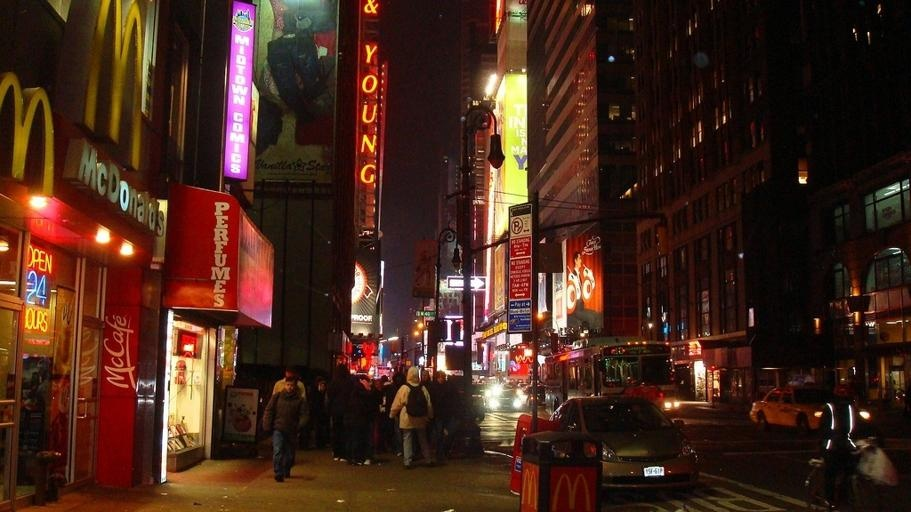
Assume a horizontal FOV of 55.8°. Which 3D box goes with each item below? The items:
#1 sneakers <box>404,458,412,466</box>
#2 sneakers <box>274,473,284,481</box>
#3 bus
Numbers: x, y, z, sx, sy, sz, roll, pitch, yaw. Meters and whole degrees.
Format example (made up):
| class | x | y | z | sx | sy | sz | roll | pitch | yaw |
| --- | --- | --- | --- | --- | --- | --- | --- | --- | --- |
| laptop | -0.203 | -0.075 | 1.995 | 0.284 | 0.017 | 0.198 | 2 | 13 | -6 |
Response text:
| class | x | y | z | sx | sy | sz | roll | pitch | yaw |
| --- | --- | --- | --- | --- | --- | --- | --- | --- | --- |
| sneakers | -1.652 | 7.254 | 30.242 | 0.200 | 0.269 | 0.372 | 3 | -4 | -6 |
| sneakers | -5.647 | 7.142 | 27.691 | 0.300 | 0.230 | 0.200 | 8 | -20 | -28 |
| bus | 8.263 | 7.373 | 51.730 | 3.733 | 4.800 | 15.176 | 1 | -9 | -9 |
